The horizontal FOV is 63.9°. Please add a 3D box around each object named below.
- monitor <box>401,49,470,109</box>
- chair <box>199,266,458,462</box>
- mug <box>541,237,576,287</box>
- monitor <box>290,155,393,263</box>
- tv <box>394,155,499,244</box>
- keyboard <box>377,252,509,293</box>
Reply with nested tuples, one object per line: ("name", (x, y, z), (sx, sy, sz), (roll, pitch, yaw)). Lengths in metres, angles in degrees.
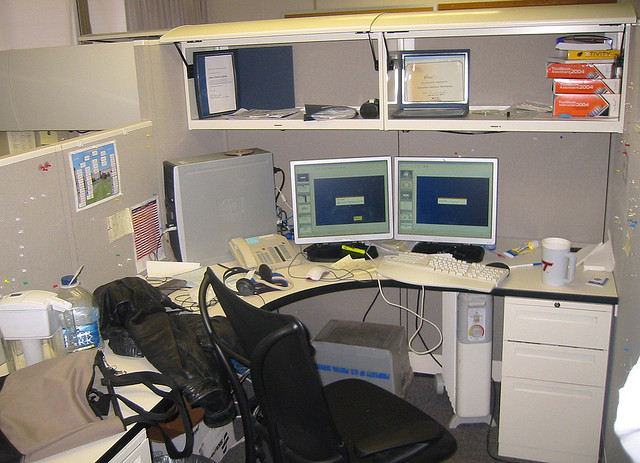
("monitor", (0.588, -0.780, 2.632), (0.331, 0.280, 0.041), (1, 11, 9))
("chair", (0.018, 0.541, 2.003), (0.792, 0.989, 0.714), (4, 18, 3))
("mug", (1.142, 0.144, 2.457), (0.150, 0.209, 0.150), (4, 12, 25))
("monitor", (0.139, -0.131, 2.819), (0.575, 0.524, 0.300), (-1, 6, 20))
("tv", (0.679, -0.177, 2.721), (0.480, 0.378, 0.048), (2, 7, 12))
("keyboard", (0.622, 0.196, 2.565), (0.595, 0.076, 0.300), (8, 31, 36))
